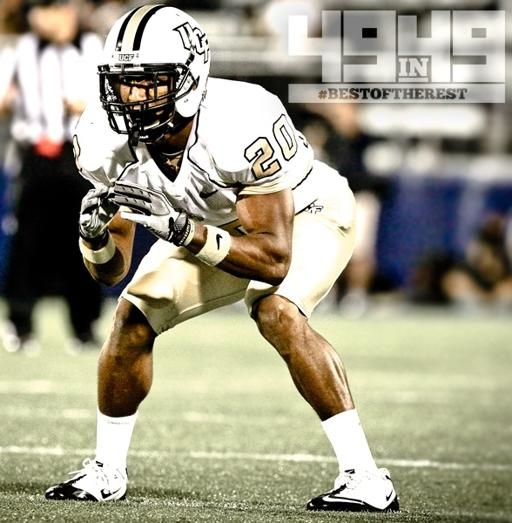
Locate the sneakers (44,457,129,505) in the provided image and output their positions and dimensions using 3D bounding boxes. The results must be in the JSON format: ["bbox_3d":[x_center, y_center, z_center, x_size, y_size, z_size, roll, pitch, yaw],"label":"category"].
[{"bbox_3d":[-0.368,0.503,1.607,0.179,0.063,0.082,9,-13,-39],"label":"sneakers"}]

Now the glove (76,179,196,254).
[{"bbox_3d":[-0.238,-0.079,1.536,0.172,0.090,0.200,27,1,21],"label":"glove"}]

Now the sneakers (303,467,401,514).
[{"bbox_3d":[0.201,0.483,1.489,0.242,0.077,0.084,9,-15,-37],"label":"sneakers"}]

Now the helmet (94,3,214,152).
[{"bbox_3d":[-0.211,-0.429,1.646,0.277,0.257,0.125,9,-3,-37],"label":"helmet"}]
